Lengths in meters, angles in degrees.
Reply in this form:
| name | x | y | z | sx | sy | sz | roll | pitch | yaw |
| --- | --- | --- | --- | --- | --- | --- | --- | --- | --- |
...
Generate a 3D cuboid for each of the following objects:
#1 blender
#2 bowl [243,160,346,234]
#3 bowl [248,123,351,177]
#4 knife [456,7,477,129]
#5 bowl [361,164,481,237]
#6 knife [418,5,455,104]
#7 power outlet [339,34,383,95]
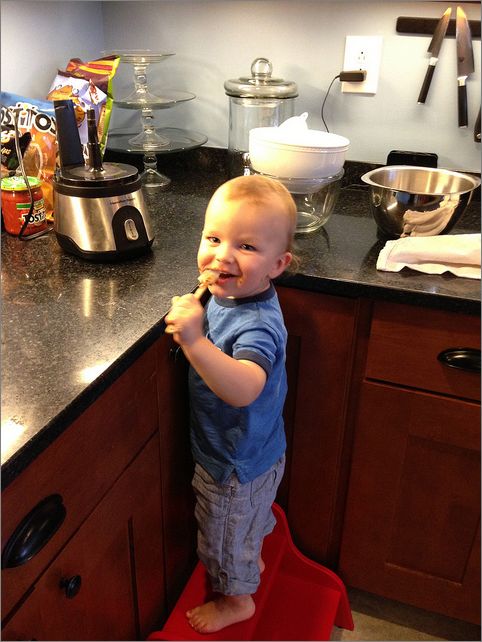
| name | x | y | z | sx | sy | sz | roll | pitch | yaw |
| --- | --- | --- | --- | --- | --- | --- | --- | --- | --- |
| blender | -0.259 | -0.249 | 0.865 | 0.145 | 0.247 | 0.223 | -21 | 38 | -40 |
| bowl | 0.111 | -0.261 | 1.029 | 0.169 | 0.128 | 0.148 | -24 | 41 | -38 |
| bowl | 0.106 | -0.334 | 0.960 | 0.127 | 0.045 | 0.132 | 1 | 29 | -1 |
| knife | 0.524 | -0.581 | 1.148 | 0.042 | 0.274 | 0.021 | 5 | 30 | 18 |
| bowl | 0.354 | -0.246 | 0.970 | 0.213 | 0.116 | 0.211 | -2 | 34 | 1 |
| knife | 0.462 | -0.632 | 1.163 | 0.043 | 0.206 | 0.036 | 12 | 30 | 20 |
| power outlet | 0.306 | -0.657 | 1.227 | 0.120 | 0.170 | 0.023 | 6 | 25 | 12 |
